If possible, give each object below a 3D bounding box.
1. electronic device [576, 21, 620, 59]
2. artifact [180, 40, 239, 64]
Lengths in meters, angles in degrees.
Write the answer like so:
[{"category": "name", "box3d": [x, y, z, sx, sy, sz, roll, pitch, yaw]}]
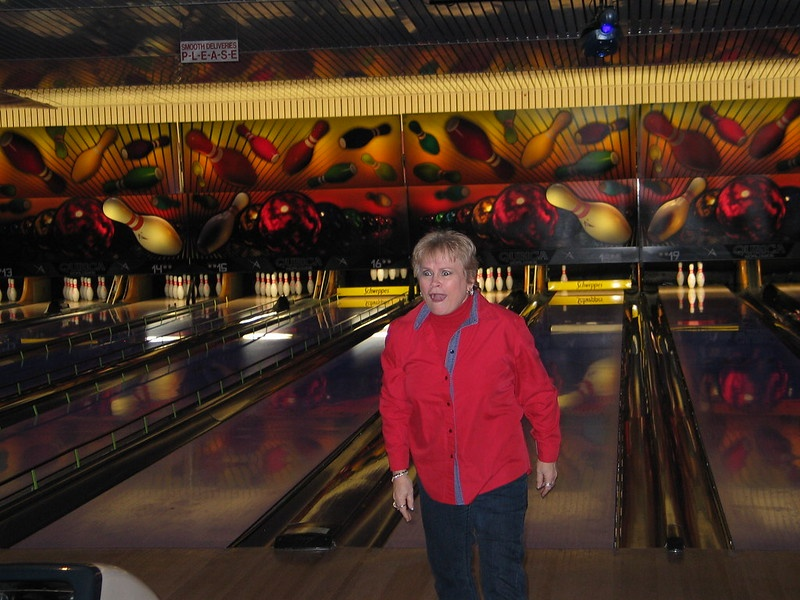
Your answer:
[{"category": "electronic device", "box3d": [1.185, -1.540, 3.324, 0.217, 0.140, 0.232, -1, -20, 8]}, {"category": "artifact", "box3d": [-1.196, -1.597, 3.523, 0.349, 0.157, 0.257, -4, 10, -10]}]
